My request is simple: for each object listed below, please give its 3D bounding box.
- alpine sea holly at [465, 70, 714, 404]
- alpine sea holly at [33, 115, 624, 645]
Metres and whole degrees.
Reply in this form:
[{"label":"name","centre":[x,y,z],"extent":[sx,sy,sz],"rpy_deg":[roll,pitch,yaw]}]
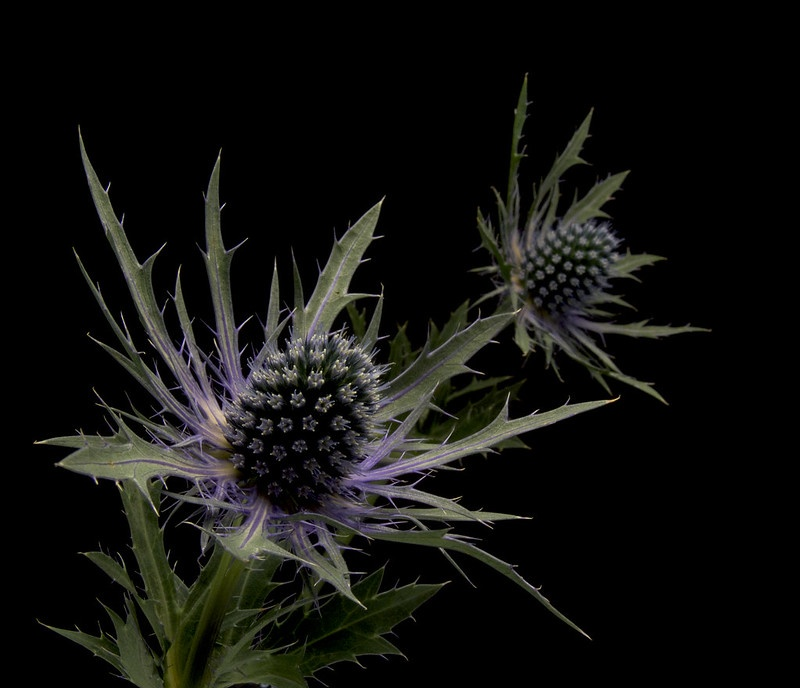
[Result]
[{"label":"alpine sea holly","centre":[0.627,-0.338,4.007],"extent":[0.486,0.947,1.031],"rpy_deg":[-14,-46,-23]},{"label":"alpine sea holly","centre":[-0.309,0.219,2.802],"extent":[1.354,1.293,0.813],"rpy_deg":[15,-56,-21]}]
